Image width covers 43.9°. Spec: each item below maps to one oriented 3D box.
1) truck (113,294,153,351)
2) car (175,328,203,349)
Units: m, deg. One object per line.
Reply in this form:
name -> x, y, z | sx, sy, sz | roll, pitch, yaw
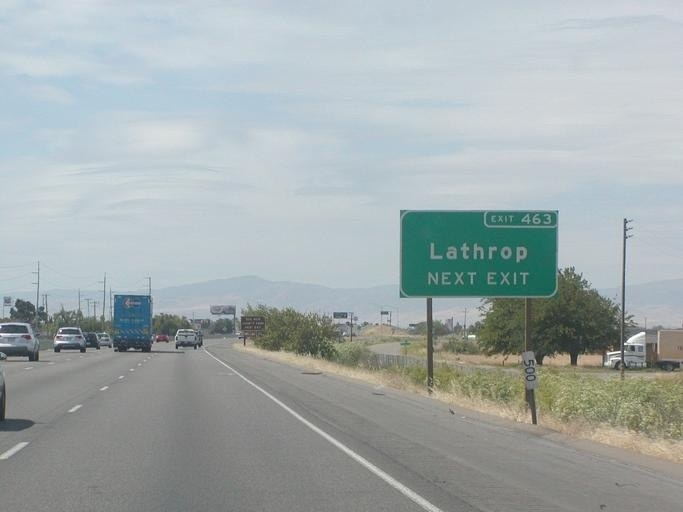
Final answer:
truck -> -16.910, 4.596, 69.877 | 2.969, 4.498, 8.826 | 1, 8, -12
car -> -15.470, 8.407, 86.573 | 1.871, 1.234, 3.249 | 1, 0, -1
